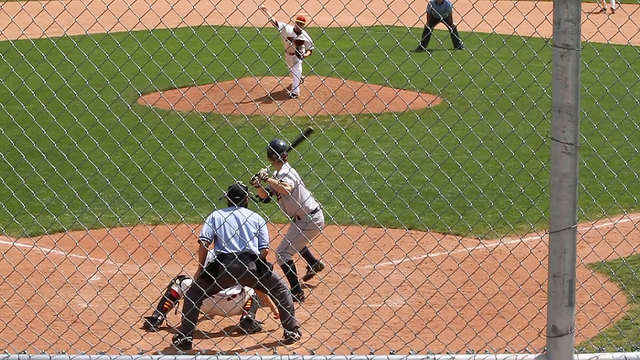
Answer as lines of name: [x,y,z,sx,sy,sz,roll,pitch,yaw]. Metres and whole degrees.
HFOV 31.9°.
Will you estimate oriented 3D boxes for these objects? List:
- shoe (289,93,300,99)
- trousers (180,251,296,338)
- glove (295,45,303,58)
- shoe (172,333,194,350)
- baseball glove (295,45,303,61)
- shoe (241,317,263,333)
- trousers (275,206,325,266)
shoe: [-0.688,-2.042,27.357,0.287,0.079,0.182,1,5,-10]
trousers: [-1.472,1.974,19.020,1.924,1.427,1.324,1,-1,-19]
glove: [-0.542,-3.058,26.696,0.077,0.271,0.204,-13,-25,-10]
shoe: [-2.345,2.710,18.755,0.319,0.255,0.573,-3,18,-11]
baseball glove: [-0.535,-3.011,26.603,0.244,0.337,0.197,-8,16,-35]
shoe: [-1.139,2.530,19.293,0.530,0.310,0.159,-1,24,-7]
trousers: [-0.385,1.010,20.308,0.760,1.168,0.675,2,1,-37]
